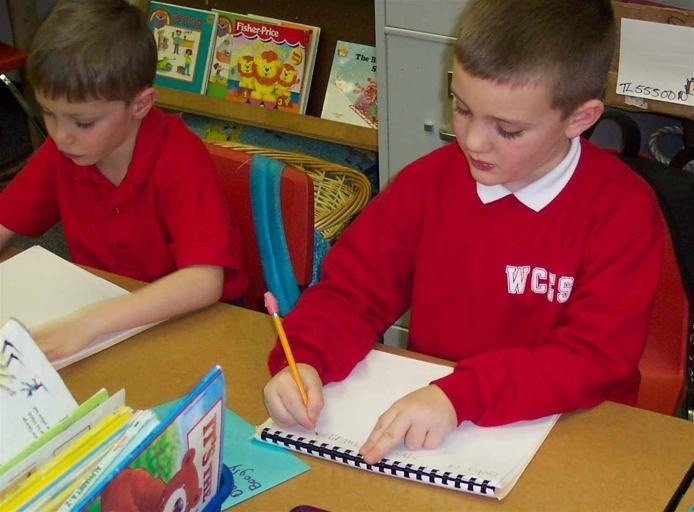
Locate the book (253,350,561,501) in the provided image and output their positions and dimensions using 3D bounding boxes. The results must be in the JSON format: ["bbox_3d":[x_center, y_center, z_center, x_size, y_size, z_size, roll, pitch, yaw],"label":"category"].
[{"bbox_3d":[0.100,0.267,0.830,0.255,0.031,0.215,13,37,22],"label":"book"}]
